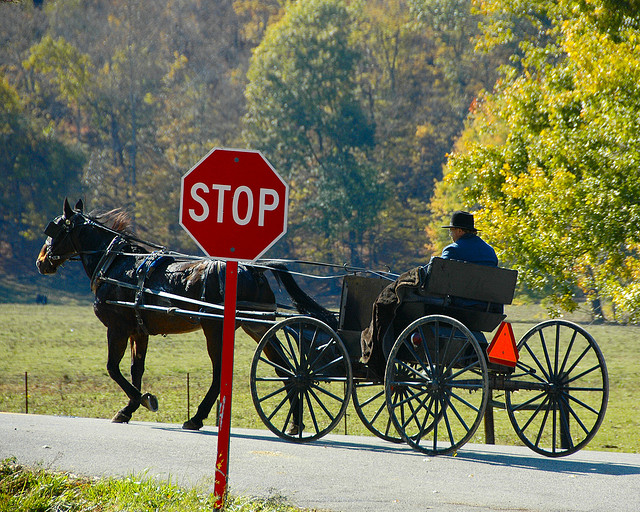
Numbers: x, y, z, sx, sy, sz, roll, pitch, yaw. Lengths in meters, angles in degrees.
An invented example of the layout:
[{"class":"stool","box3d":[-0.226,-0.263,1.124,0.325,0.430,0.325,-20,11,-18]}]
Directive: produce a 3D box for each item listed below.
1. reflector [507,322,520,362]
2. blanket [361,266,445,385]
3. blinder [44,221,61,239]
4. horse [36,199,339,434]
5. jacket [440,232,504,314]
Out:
[{"class":"reflector","box3d":[3.979,1.768,26.217,0.224,0.806,0.133,-18,5,10]},{"class":"blanket","box3d":[2.012,1.395,26.909,1.718,2.011,2.169,-32,0,24]},{"class":"blinder","box3d":[-6.269,-0.628,29.681,0.352,0.413,0.325,2,0,-23]},{"class":"horse","box3d":[-2.995,1.416,28.722,8.757,5.081,2.051,1,3,32]},{"class":"jacket","box3d":[3.158,0.395,26.455,2.099,1.769,1.052,0,-6,-31]}]
